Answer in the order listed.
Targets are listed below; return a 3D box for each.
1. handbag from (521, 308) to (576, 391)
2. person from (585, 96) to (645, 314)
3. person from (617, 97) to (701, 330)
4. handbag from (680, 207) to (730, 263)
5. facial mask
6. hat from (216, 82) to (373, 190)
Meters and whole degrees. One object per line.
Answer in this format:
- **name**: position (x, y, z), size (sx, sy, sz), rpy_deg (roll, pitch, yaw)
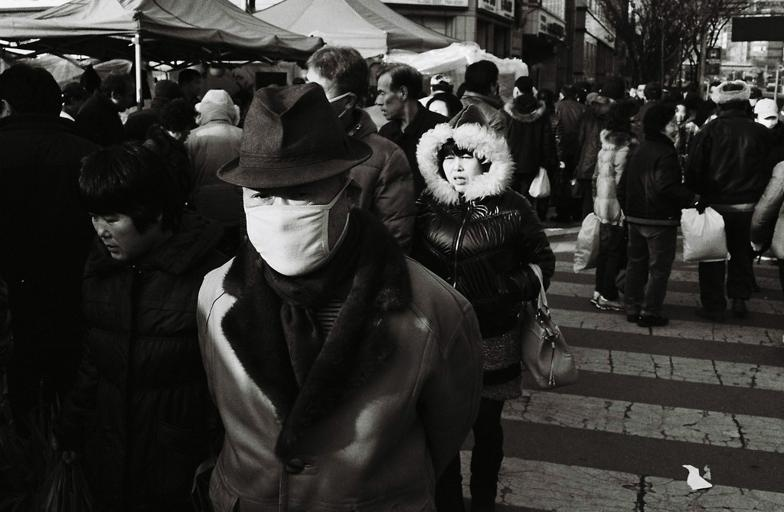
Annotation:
- **handbag**: position (1.053, 0.551, 5.482), size (0.262, 0.550, 0.559), rpy_deg (-12, 24, -2)
- **person**: position (2.683, -0.531, 9.467), size (0.686, 2.097, 0.758), rpy_deg (4, 8, 30)
- **person**: position (2.839, -0.444, 8.740), size (0.821, 2.398, 0.900), rpy_deg (-1, 8, -13)
- **handbag**: position (3.434, -0.248, 8.631), size (0.534, 0.661, 0.240), rpy_deg (-2, 4, 2)
- **facial mask**: position (-0.444, -0.138, 3.728), size (0.474, 0.394, 0.201), rpy_deg (-3, 15, -12)
- **hat**: position (-0.481, -0.608, 3.803), size (0.779, 0.376, 0.868), rpy_deg (-4, 18, 7)
